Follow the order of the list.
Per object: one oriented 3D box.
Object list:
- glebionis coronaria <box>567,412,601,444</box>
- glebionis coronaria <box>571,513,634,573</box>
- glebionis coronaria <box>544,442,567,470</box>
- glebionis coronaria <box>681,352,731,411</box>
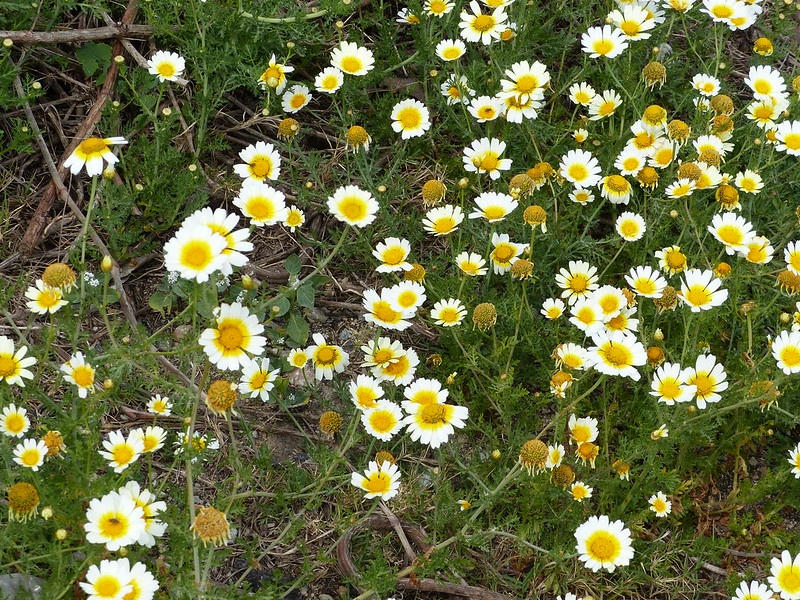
[{"bbox_3d":[0.966,0.689,3.706,0.169,0.155,0.151,-1,63,-17],"label":"glebionis coronaria"},{"bbox_3d":[0.949,1.137,3.293,0.235,0.147,0.244,-10,66,-22],"label":"glebionis coronaria"},{"bbox_3d":[0.779,0.783,3.546,0.049,0.124,0.131,38,35,-45],"label":"glebionis coronaria"},{"bbox_3d":[1.496,0.396,3.416,0.240,0.075,0.268,4,76,3],"label":"glebionis coronaria"}]
